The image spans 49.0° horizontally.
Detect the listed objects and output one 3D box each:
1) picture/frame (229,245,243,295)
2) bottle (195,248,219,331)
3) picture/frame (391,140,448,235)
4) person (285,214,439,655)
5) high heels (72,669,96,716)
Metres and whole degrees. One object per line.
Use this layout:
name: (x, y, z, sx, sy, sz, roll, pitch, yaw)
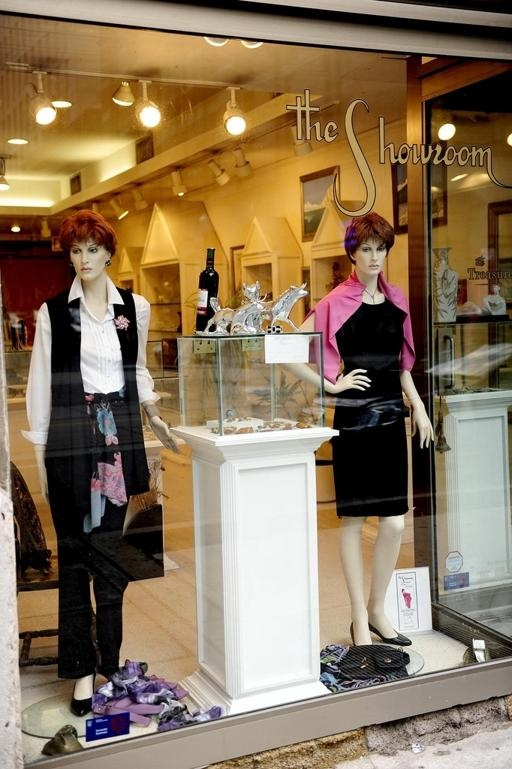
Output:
picture/frame: (-0.053, -0.318, 1.549, 0.037, 0.124, 0.013, -3, -1, -2)
bottle: (-0.134, -0.255, 1.517, 0.076, 0.206, 0.024, -3, -1, -32)
picture/frame: (0.529, -0.654, 1.855, 0.224, 0.295, 0.027, -8, 17, -17)
person: (0.361, 0.185, 1.803, 0.555, 1.390, 0.172, -3, -1, -39)
high heels: (-0.458, 0.806, 1.476, 0.035, 0.108, 0.035, 5, -24, -26)
